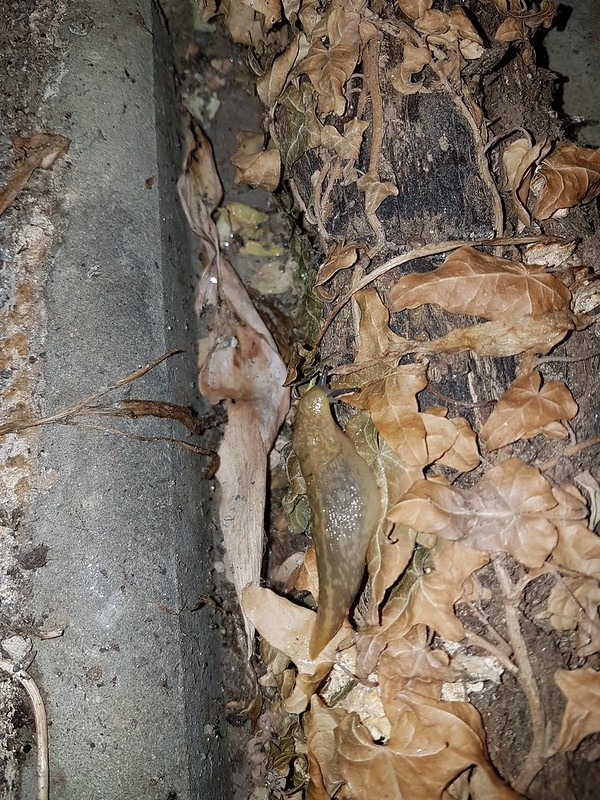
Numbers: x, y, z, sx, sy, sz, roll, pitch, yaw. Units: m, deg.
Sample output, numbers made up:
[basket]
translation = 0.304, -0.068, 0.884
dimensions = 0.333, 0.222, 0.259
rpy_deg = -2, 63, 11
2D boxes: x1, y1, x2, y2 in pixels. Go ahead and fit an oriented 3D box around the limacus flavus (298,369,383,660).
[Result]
[limacus flavus]
translation = 0.049, 0.129, 1.044
dimensions = 0.043, 0.092, 0.308
rpy_deg = 7, 76, -22
